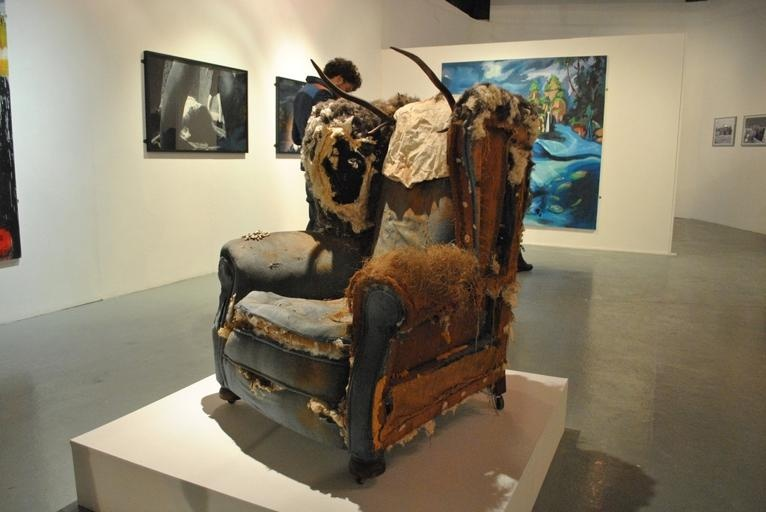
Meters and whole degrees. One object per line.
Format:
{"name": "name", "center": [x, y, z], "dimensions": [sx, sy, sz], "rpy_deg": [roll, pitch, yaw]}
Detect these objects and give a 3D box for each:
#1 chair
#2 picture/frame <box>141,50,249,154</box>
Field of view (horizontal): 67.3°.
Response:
{"name": "chair", "center": [-0.175, 0.144, 3.779], "dimensions": [1.886, 2.453, 1.925], "rpy_deg": [5, 8, 44]}
{"name": "picture/frame", "center": [-2.050, -1.667, 6.143], "dimensions": [0.044, 0.899, 1.247], "rpy_deg": [8, 10, 29]}
